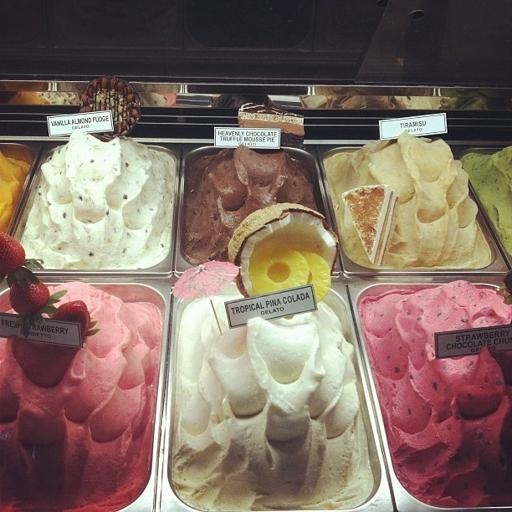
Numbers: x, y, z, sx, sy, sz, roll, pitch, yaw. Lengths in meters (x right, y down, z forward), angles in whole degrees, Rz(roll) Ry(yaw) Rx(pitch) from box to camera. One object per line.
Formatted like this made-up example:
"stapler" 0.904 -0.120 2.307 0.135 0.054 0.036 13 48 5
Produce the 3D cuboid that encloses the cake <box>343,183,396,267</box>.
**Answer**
"cake" 0.453 -0.136 1.754 0.141 0.181 0.316 -7 71 -6
